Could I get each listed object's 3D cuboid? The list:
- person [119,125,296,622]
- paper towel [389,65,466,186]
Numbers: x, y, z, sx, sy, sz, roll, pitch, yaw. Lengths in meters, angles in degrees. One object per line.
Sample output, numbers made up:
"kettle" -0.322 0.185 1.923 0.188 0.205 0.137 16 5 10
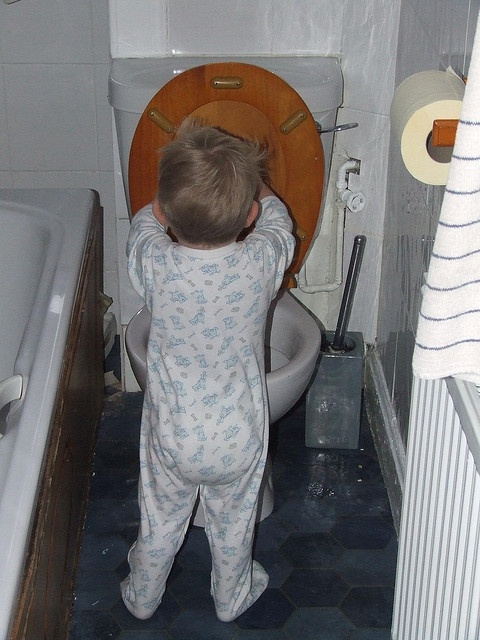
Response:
"person" -0.074 0.135 1.084 0.315 0.914 0.255 2 21 2
"paper towel" 0.192 -0.184 0.634 0.058 0.065 0.075 -24 13 13
